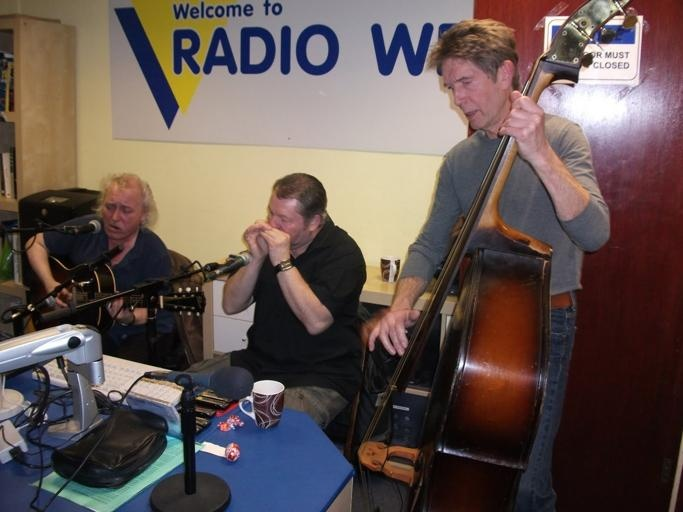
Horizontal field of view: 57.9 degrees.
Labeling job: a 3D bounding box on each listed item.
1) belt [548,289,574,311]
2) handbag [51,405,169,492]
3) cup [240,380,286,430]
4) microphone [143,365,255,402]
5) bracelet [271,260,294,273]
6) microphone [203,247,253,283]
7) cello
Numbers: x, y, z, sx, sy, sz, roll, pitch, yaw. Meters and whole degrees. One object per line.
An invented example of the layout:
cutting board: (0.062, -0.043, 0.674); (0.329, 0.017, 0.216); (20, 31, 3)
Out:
belt: (0.779, 0.151, 2.194); (0.082, 0.066, 0.063); (-9, -9, -4)
handbag: (-0.703, 0.598, 1.914); (0.325, 0.137, 0.208); (-13, 21, -42)
cup: (-0.261, 0.501, 2.081); (0.166, 0.138, 0.113); (-1, 5, 11)
microphone: (-0.498, 0.450, 2.150); (0.382, 0.113, 0.112); (8, 5, 2)
bracelet: (-0.258, 0.056, 2.694); (0.075, 0.055, 0.071); (-23, -12, 8)
microphone: (-0.450, 0.048, 2.466); (0.063, 0.070, 0.280); (44, 25, 6)
cello: (0.507, 0.050, 2.175); (0.747, 1.740, 0.634); (14, 19, 41)
